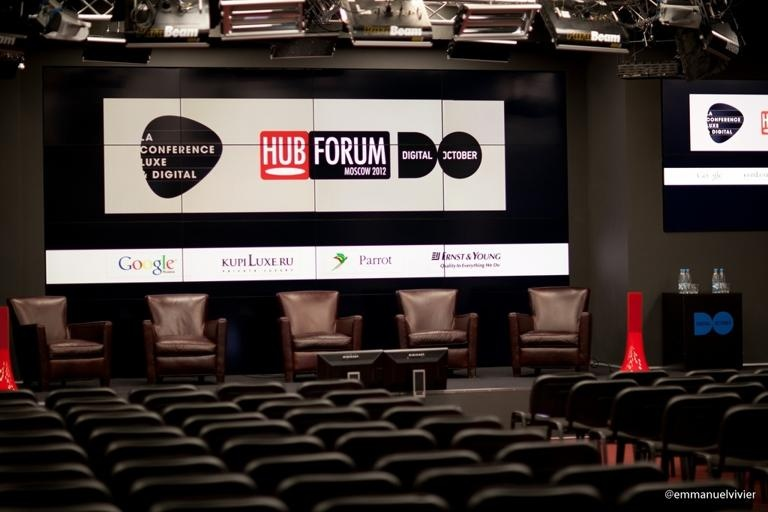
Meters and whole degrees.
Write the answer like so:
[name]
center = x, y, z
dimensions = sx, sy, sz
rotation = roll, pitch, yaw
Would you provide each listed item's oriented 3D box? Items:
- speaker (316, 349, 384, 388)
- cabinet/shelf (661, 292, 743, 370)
[speaker]
center = -0.340, 1.061, 6.895
dimensions = 0.619, 0.320, 0.552
rotation = -1, -11, -4
[cabinet/shelf]
center = 4.223, 0.920, 9.323
dimensions = 0.724, 0.851, 0.595
rotation = -1, -5, 25
